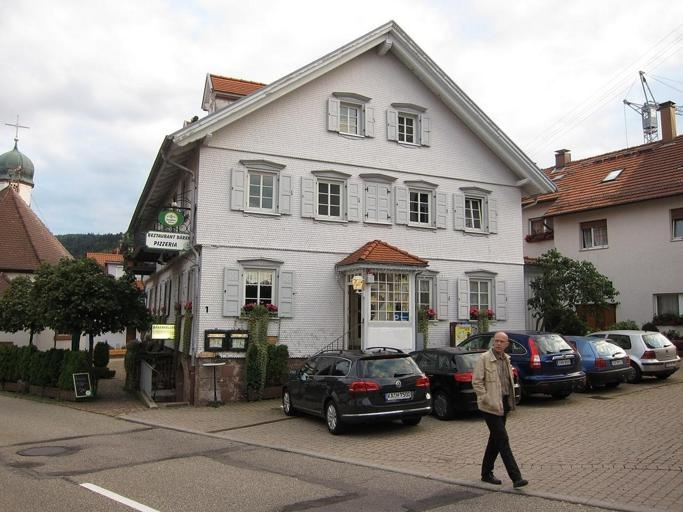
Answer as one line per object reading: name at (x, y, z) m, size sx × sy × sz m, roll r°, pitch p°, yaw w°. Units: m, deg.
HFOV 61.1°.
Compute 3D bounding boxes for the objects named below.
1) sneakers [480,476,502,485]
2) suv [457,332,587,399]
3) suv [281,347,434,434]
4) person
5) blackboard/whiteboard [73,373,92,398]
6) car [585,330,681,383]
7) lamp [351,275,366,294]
sneakers at (2.518, 3.757, 9.726) m, size 0.118 × 0.105 × 0.305 m, roll 5°, pitch -11°, yaw -37°
suv at (4.899, 2.995, 16.958) m, size 1.917 × 1.207 × 3.919 m, roll 3°, pitch -4°, yaw -32°
suv at (0.221, 3.289, 14.447) m, size 1.736 × 1.931 × 3.329 m, roll 2°, pitch -6°, yaw -38°
person at (2.663, 2.566, 9.867) m, size 0.762 × 2.495 × 0.867 m, roll -4°, pitch -5°, yaw 13°
blackboard/whiteboard at (-8.908, 4.452, 19.935) m, size 0.487 × 0.935 × 0.666 m, roll -5°, pitch -6°, yaw 31°
car at (9.954, 3.341, 20.207) m, size 1.779 × 1.113 × 2.836 m, roll 2°, pitch -3°, yaw -38°
lamp at (0.710, 0.970, 20.389) m, size 0.651 × 0.610 × 0.608 m, roll 7°, pitch -13°, yaw -37°
